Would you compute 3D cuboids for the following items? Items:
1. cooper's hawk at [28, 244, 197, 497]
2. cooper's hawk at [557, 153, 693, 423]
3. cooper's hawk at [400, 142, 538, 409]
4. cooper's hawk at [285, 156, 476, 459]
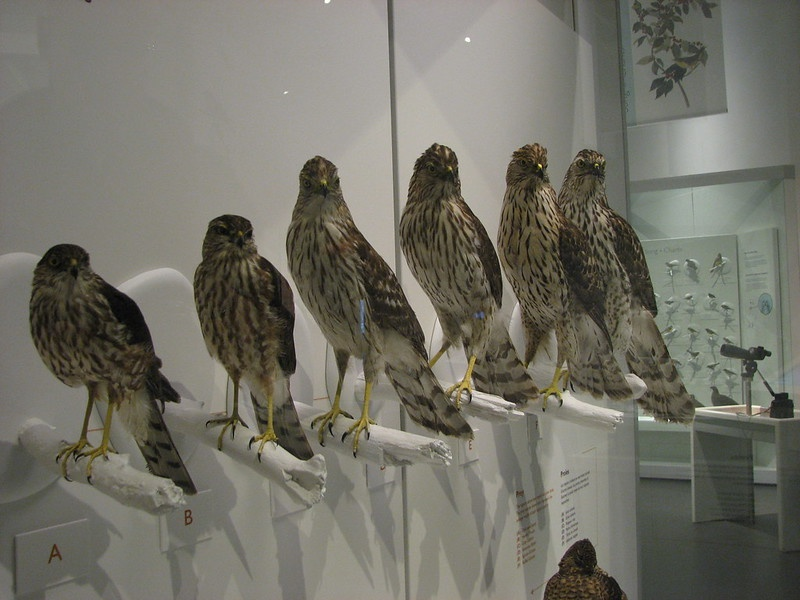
[{"bbox_3d":[-0.587,0.122,2.154,0.242,0.575,0.390,2,15,8],"label":"cooper's hawk"},{"bbox_3d":[0.677,-0.006,2.963,0.347,0.918,0.387,4,14,23],"label":"cooper's hawk"},{"bbox_3d":[0.166,-0.085,2.531,0.215,0.652,0.413,2,2,35],"label":"cooper's hawk"},{"bbox_3d":[-0.053,0.009,2.279,0.397,0.682,0.114,-6,0,-31],"label":"cooper's hawk"}]
